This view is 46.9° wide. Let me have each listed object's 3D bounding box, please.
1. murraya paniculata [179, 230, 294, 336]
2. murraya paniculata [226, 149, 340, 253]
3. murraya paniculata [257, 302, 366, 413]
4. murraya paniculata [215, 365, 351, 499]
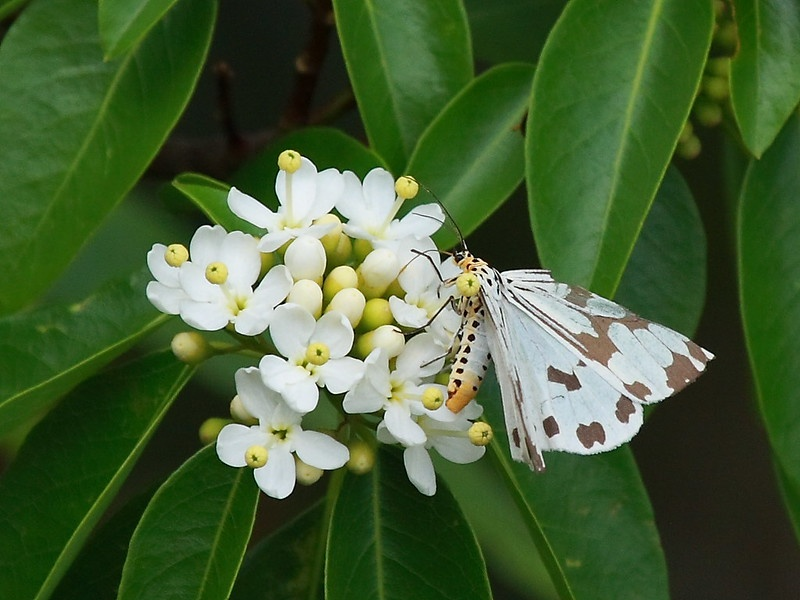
[{"bbox_3d":[-0.393,-0.047,2.212,0.264,0.121,0.230,3,60,-4],"label":"murraya paniculata"},{"bbox_3d":[-0.311,-0.224,2.374,0.282,0.249,0.296,-1,86,15],"label":"murraya paniculata"},{"bbox_3d":[-0.201,0.142,2.129,0.235,0.125,0.219,3,60,-3],"label":"murraya paniculata"},{"bbox_3d":[-0.278,0.340,2.209,0.286,0.118,0.324,19,81,-7],"label":"murraya paniculata"}]
